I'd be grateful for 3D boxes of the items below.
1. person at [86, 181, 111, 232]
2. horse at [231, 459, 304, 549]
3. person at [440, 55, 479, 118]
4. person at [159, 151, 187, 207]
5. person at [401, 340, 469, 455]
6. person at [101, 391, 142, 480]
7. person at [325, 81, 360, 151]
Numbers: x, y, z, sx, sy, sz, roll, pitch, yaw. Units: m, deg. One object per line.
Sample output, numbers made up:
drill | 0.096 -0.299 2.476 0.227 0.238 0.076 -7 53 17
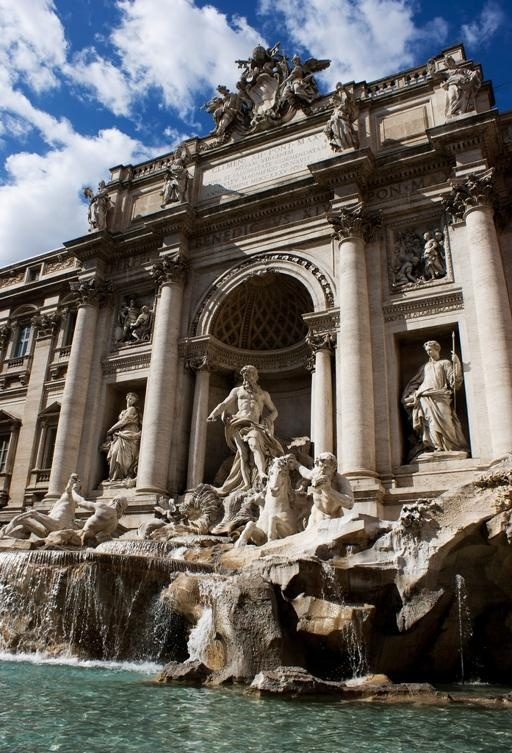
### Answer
person | -6.624 -7.181 24.349 1.138 2.319 0.734 -4 -17 6
horse | 0.320 3.196 14.224 0.936 2.457 1.767 -9 -48 15
person | 6.335 -8.971 17.880 1.060 2.881 0.670 -6 -24 21
person | -3.127 -7.771 22.707 0.985 2.530 0.607 8 -16 -11
person | 4.814 0.590 15.553 1.533 3.129 0.777 -14 -27 35
person | -4.717 2.237 20.764 1.336 3.419 0.672 0 -22 7
person | 2.921 -8.785 19.559 1.132 3.427 0.723 1 -22 6
